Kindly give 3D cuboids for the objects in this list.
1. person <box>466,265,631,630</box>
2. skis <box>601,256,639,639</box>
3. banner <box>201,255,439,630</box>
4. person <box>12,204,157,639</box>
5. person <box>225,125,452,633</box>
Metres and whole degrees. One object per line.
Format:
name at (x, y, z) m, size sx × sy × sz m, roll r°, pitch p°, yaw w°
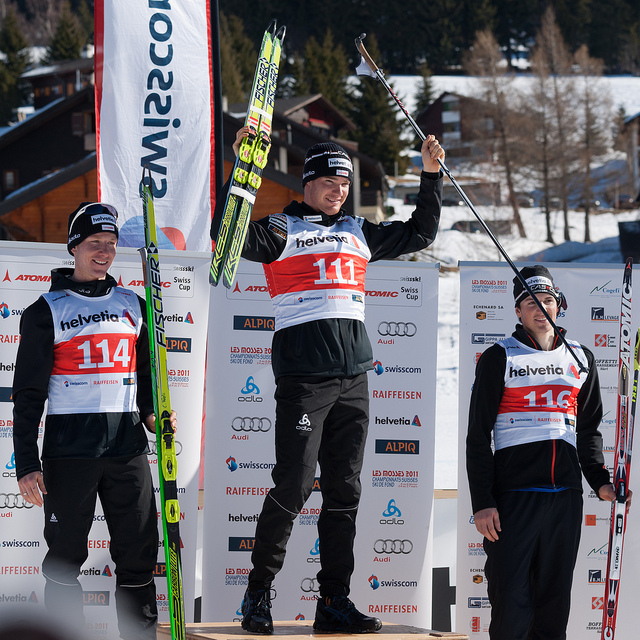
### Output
person at (1.389, 0.853, 7.583) m, size 0.904 × 2.146 × 0.410 m, roll 0°, pitch -3°, yaw 7°
skis at (1.909, 0.910, 7.663) m, size 0.204 × 2.898 × 0.205 m, roll 6°, pitch -8°, yaw -11°
banner at (-0.026, 0.786, 8.704) m, size 1.718 × 3.767 × 0.267 m, roll -4°, pitch 28°, yaw -5°
person at (-1.397, 0.594, 7.240) m, size 0.849 × 2.633 × 0.491 m, roll 1°, pitch -3°, yaw -19°
person at (0.068, 0.430, 7.369) m, size 1.092 × 2.920 × 0.445 m, roll 1°, pitch -3°, yaw -5°
